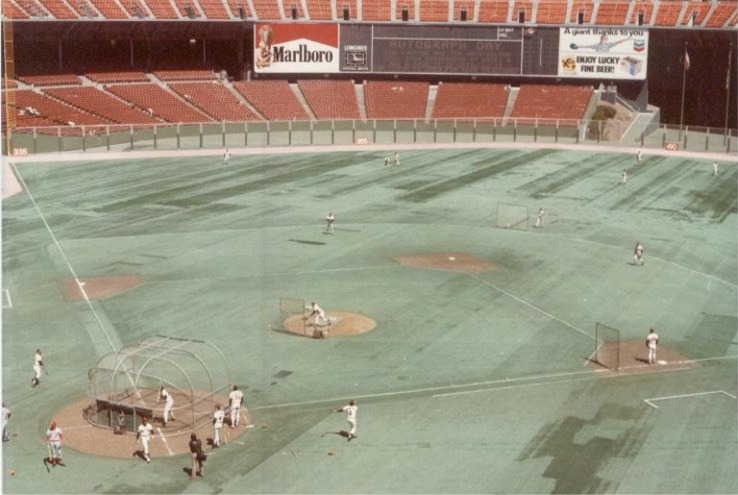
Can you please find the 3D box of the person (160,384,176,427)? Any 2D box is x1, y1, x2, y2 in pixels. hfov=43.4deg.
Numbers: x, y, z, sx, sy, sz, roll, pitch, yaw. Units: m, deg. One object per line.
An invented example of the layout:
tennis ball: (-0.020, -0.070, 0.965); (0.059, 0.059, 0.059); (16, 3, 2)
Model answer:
person: (-11.439, 8.988, 52.508); (0.682, 2.142, 1.271); (-6, 20, -11)
